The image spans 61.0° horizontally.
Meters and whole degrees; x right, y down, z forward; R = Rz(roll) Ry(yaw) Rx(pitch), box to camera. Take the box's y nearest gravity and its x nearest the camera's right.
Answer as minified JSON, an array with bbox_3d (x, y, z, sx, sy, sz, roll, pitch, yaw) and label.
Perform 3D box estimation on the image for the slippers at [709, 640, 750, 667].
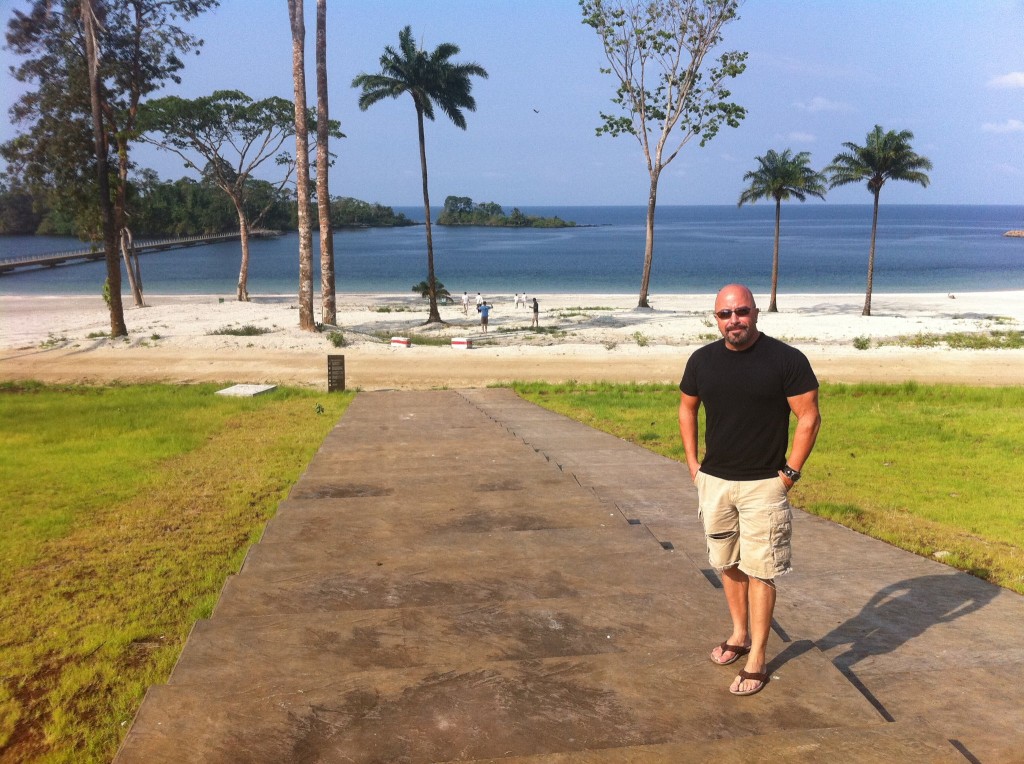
[{"bbox_3d":[1.399,1.724,5.574,0.219,0.065,0.120,-5,4,-41],"label":"slippers"}]

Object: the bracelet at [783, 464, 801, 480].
[{"bbox_3d":[1.826,0.575,5.639,0.083,0.047,0.097,25,-3,-16],"label":"bracelet"}]

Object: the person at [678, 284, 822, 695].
[{"bbox_3d":[1.533,0.571,5.704,0.886,2.370,1.221,4,12,11],"label":"person"}]

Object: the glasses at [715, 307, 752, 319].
[{"bbox_3d":[1.446,-0.445,5.636,0.225,0.084,0.098,5,12,15],"label":"glasses"}]
